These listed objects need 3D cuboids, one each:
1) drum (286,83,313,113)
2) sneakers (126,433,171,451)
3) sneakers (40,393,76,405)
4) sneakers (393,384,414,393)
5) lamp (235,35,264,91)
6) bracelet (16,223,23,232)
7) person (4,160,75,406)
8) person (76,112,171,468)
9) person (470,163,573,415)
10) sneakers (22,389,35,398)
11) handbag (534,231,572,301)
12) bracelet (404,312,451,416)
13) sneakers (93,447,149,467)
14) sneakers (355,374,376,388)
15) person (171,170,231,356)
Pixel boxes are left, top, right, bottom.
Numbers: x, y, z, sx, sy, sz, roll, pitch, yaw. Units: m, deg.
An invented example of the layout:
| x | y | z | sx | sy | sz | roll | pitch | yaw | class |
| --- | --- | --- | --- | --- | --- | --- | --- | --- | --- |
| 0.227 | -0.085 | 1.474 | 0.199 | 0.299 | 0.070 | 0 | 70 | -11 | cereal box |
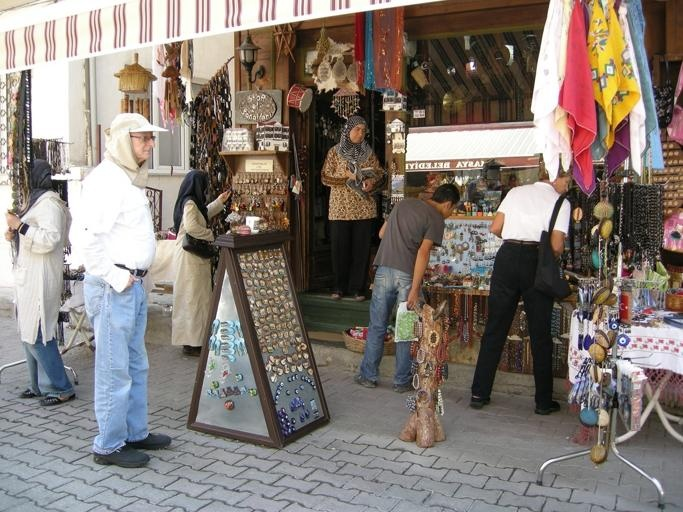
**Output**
| x | y | z | sx | sy | sz | roll | pitch | yaw | class |
| --- | --- | --- | --- | --- | --- | --- | --- | --- | --- |
| -0.524 | -1.979 | 7.453 | 0.240 | 0.346 | 0.331 | 22 | 17 | 27 | drum |
| -1.584 | 1.506 | 4.822 | 0.323 | 0.151 | 0.125 | -3 | 5 | -10 | sneakers |
| -2.785 | 1.402 | 5.737 | 0.117 | 0.127 | 0.287 | 25 | 7 | 37 | sneakers |
| 0.633 | 1.335 | 5.991 | 0.201 | 0.099 | 0.086 | -3 | 5 | -41 | sneakers |
| -1.185 | -2.501 | 7.430 | 0.383 | 0.695 | 0.528 | 1 | 8 | 9 | lamp |
| -3.098 | -0.273 | 5.596 | 0.044 | 0.086 | 0.148 | -6 | 11 | -36 | bracelet |
| -2.923 | 0.247 | 5.712 | 0.535 | 2.338 | 0.508 | 3 | 9 | 27 | person |
| -1.690 | 0.246 | 4.552 | 0.612 | 2.686 | 0.570 | -7 | 10 | -40 | person |
| 1.667 | 0.341 | 5.468 | 0.821 | 2.183 | 0.469 | 3 | 8 | 20 | person |
| -3.118 | 1.363 | 5.841 | 0.145 | 0.070 | 0.064 | 9 | 20 | -22 | sneakers |
| 1.834 | 0.024 | 5.248 | 0.361 | 0.642 | 0.282 | 15 | 44 | 35 | handbag |
| 0.726 | 0.843 | 4.941 | 0.322 | 0.896 | 0.346 | 0 | 8 | 7 | bracelet |
| -1.709 | 1.543 | 4.563 | 0.378 | 0.177 | 0.165 | 0 | 6 | 1 | sneakers |
| 0.250 | 1.296 | 6.111 | 0.093 | 0.106 | 0.230 | -2 | 11 | -34 | sneakers |
| -1.810 | 0.087 | 7.233 | 0.604 | 2.275 | 0.718 | -2 | 8 | -12 | person |
